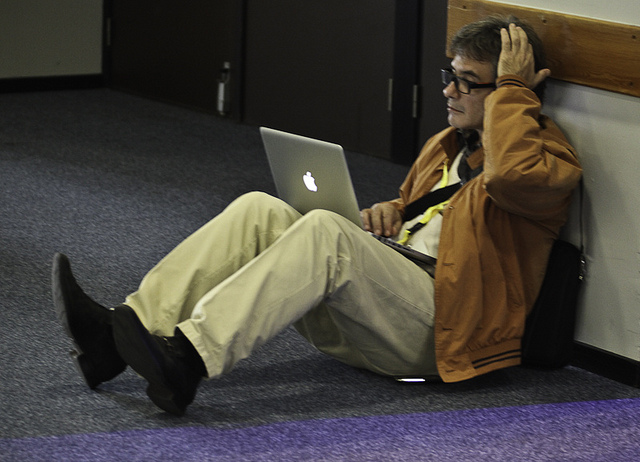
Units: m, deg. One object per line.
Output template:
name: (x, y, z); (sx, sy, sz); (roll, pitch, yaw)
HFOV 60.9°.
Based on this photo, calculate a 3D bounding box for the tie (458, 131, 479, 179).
tie: (0.468, -0.244, 1.781); (0.058, 0.122, 0.102); (7, 20, 10)

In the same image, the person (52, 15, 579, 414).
person: (0.049, -0.070, 1.616); (1.658, 0.877, 0.812); (-6, 12, -28)

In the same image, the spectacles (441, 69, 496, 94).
spectacles: (0.457, -0.464, 1.693); (0.125, 0.025, 0.108); (2, 19, -29)

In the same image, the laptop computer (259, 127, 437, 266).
laptop computer: (0.046, -0.156, 1.689); (0.546, 0.299, 0.468); (-10, 16, -36)
